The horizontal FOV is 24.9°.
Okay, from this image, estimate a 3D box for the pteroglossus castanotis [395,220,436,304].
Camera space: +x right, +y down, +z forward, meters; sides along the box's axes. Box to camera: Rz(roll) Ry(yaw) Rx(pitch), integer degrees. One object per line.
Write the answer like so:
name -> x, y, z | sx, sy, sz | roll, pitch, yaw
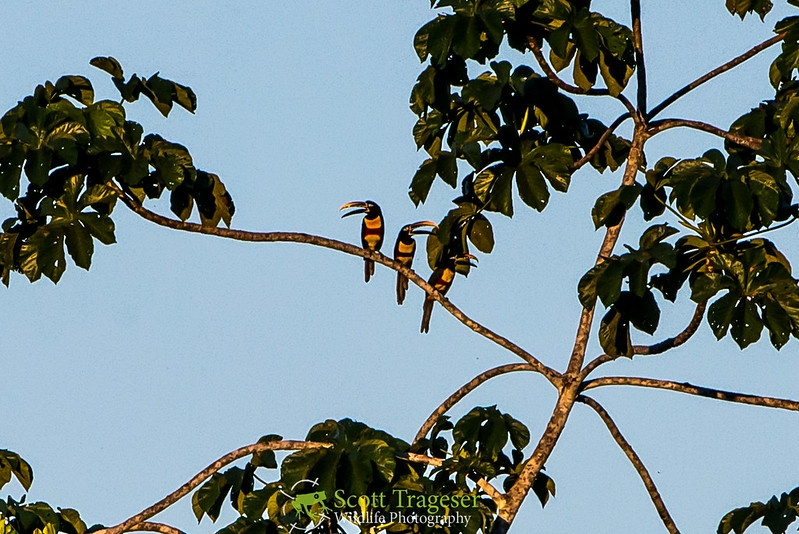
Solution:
pteroglossus castanotis -> 0.151, -0.065, 20.365 | 0.745, 0.181, 0.835 | -10, -88, -34
